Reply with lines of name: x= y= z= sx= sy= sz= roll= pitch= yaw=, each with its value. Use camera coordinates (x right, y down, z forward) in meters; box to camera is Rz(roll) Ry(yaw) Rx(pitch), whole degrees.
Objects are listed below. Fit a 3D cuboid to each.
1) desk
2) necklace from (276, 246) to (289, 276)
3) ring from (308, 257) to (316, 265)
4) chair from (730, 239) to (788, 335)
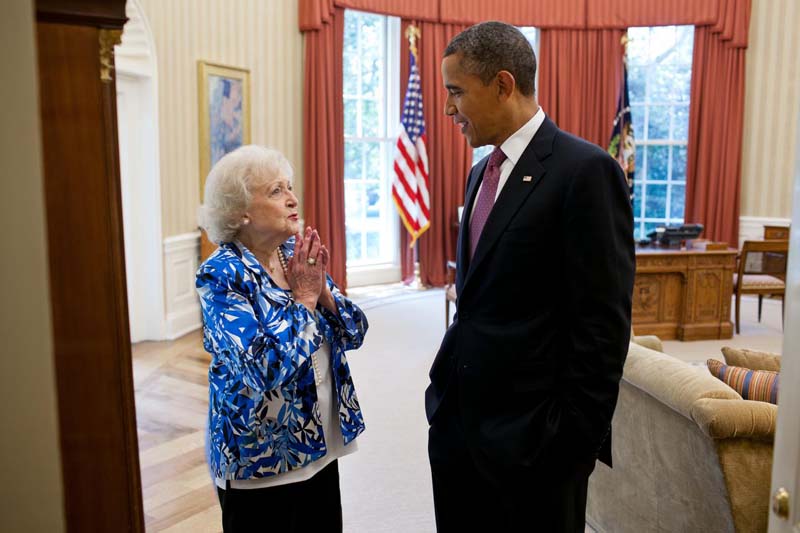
desk: x=2.675 y=0.249 z=6.843 sx=1.311 sy=1.174 sz=0.880 roll=0 pitch=3 yaw=4
necklace: x=-0.473 y=-0.022 z=2.766 sx=0.028 sy=0.102 sz=0.067 roll=-10 pitch=-4 yaw=11
ring: x=-0.340 y=-0.019 z=2.633 sx=0.024 sy=0.027 sz=0.025 roll=2 pitch=-4 yaw=0
chair: x=3.578 y=0.154 z=6.983 sx=0.476 sy=0.934 sz=0.620 roll=-3 pitch=4 yaw=-2
